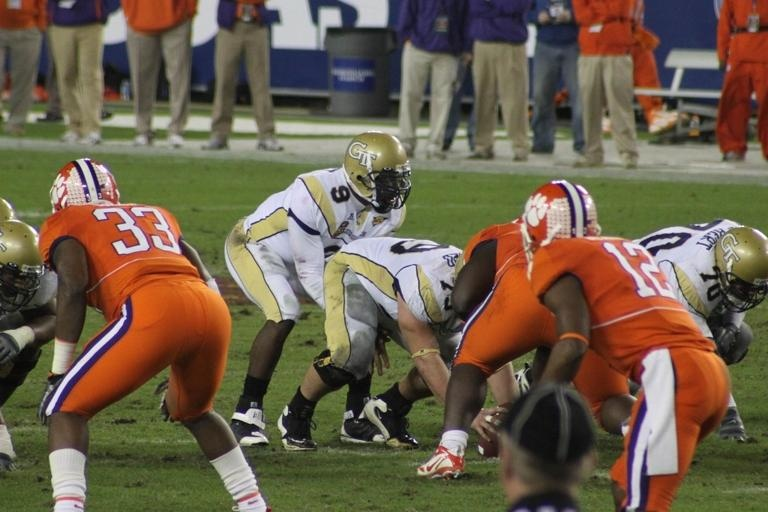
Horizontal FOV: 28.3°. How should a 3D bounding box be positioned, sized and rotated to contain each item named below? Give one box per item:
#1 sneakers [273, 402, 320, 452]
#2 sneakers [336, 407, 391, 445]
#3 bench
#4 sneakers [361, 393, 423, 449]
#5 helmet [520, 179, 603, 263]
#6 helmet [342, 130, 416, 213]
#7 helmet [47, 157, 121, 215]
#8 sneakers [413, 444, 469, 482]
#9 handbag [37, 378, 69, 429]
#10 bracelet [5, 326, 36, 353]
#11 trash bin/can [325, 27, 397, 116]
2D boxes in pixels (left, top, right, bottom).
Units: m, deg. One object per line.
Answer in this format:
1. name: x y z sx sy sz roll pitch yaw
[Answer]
1. sneakers: -0.515 1.004 8.747 0.132 0.203 0.354 8 10 -28
2. sneakers: -0.146 1.008 8.857 0.354 0.157 0.123 1 0 20
3. bench: 2.348 -1.267 12.010 1.010 0.662 0.450 -4 5 -43
4. sneakers: 0.027 0.981 8.864 0.421 0.188 0.166 43 30 -3
5. helmet: 0.921 -0.180 8.192 0.359 0.446 0.442 -1 14 -13
6. helmet: -0.032 -0.545 9.394 0.477 0.477 0.380 18 22 17
7. helmet: -1.703 -0.397 8.544 0.342 0.344 0.277 -6 6 26
8. sneakers: 0.325 1.166 8.346 0.122 0.176 0.318 17 -15 -40
9. handbag: -1.787 0.759 8.112 0.123 0.309 0.478 0 6 -14
10. bracelet: -2.067 0.475 8.558 0.113 0.061 0.150 48 32 18
11. trash bin/can: -0.216 -1.429 11.753 0.608 0.700 0.447 -2 19 -13
